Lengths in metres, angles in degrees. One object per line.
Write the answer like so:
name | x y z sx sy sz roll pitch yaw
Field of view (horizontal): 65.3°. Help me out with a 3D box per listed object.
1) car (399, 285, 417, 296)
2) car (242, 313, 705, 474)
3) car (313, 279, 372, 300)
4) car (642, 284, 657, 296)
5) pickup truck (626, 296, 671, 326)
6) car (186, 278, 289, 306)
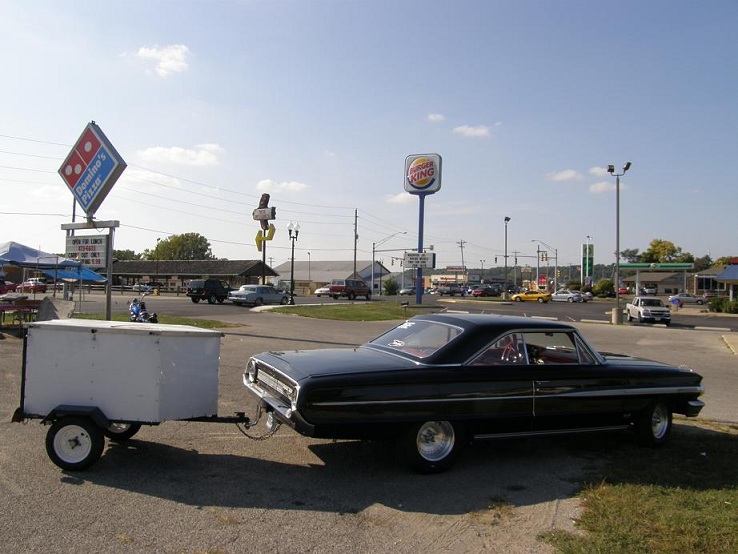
car | 5.962 2.058 86.455 2.181 1.014 1.110 2 -2 -10
car | 1.370 1.388 7.217 5.322 1.753 0.969 1 0 -20
car | -1.673 1.350 59.923 5.005 1.921 2.805 -5 5 -35
car | 46.055 2.089 94.529 1.577 1.082 3.231 -1 -4 15
pickup truck | 16.410 2.014 34.296 1.345 1.096 3.130 0 -5 2
car | -9.644 1.094 41.981 6.544 1.525 3.270 1 0 30
